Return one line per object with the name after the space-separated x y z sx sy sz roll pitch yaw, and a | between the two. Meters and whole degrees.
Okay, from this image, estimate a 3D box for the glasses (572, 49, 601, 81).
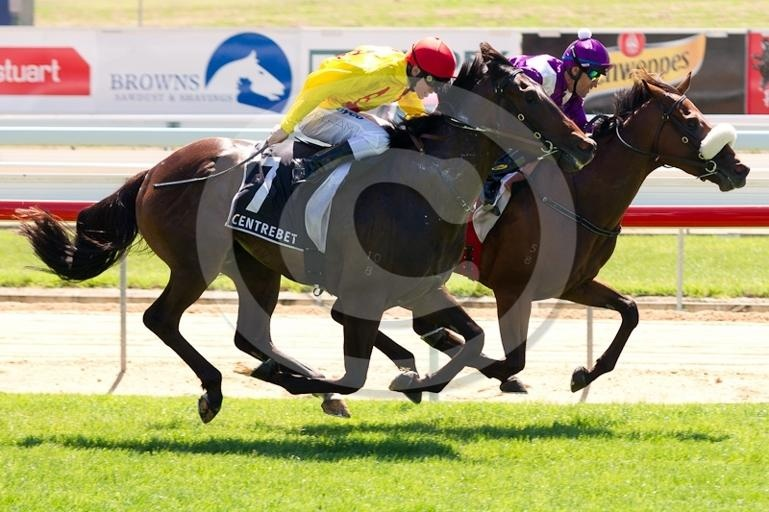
1.560 -1.435 8.659 0.198 0.070 0.143 33 14 1 | glasses

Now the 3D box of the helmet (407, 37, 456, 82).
0.358 -1.393 8.008 0.354 0.179 0.265 37 38 13 | helmet

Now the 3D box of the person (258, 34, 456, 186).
-0.162 -1.041 8.144 1.257 1.075 0.439 3 11 -6 | person

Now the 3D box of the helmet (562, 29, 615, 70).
1.556 -1.610 8.749 0.382 0.215 0.273 12 23 23 | helmet
